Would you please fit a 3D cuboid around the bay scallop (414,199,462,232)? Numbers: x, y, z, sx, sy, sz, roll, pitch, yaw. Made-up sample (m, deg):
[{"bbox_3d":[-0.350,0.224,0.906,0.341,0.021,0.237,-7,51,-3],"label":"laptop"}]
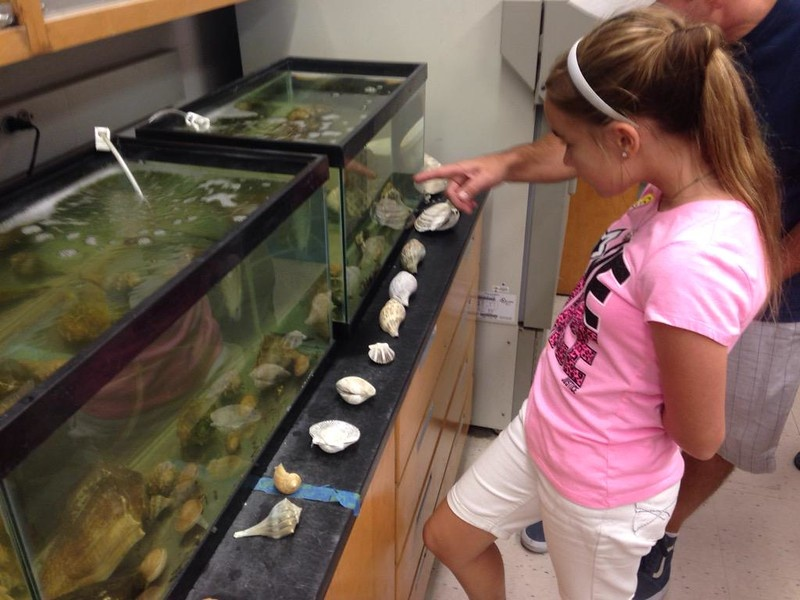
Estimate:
[{"bbox_3d":[0.112,-0.276,1.890,0.102,0.052,0.099,-21,35,-16],"label":"bay scallop"}]
